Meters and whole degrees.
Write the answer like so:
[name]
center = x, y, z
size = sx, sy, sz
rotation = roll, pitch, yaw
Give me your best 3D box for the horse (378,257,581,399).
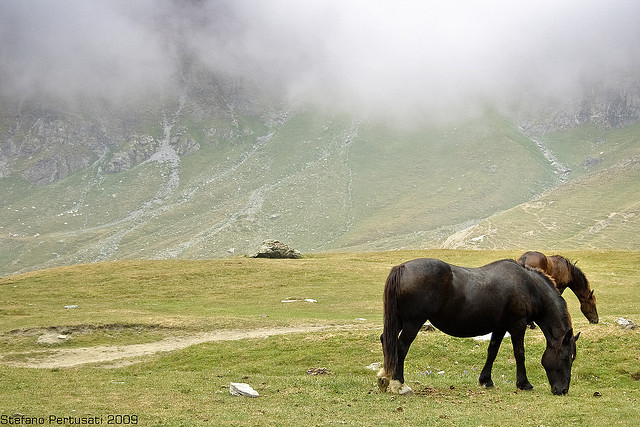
[horse]
center = 8.260, 5.865, 32.359
size = 10.163, 7.231, 5.249
rotation = -1, 4, -3
